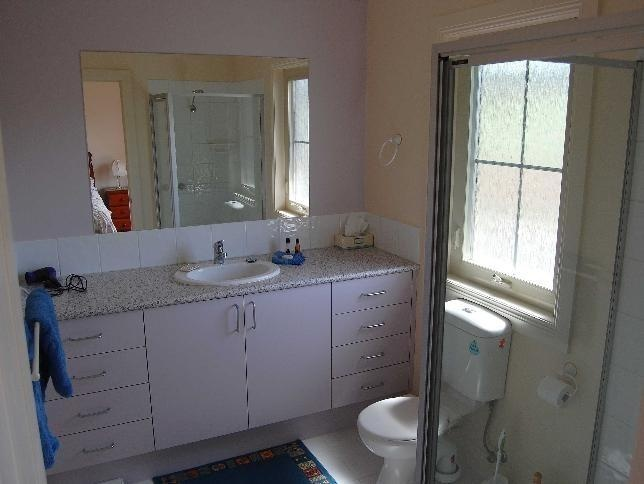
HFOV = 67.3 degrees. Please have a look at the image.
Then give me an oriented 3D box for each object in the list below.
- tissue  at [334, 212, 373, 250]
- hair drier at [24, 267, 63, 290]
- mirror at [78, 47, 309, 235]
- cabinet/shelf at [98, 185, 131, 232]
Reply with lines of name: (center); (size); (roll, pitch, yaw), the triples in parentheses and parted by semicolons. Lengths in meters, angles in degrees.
tissue : (0.248, -0.063, 3.555); (0.275, 0.295, 0.244); (-3, 9, -17)
hair drier: (-1.585, 0.209, 2.745); (0.153, 0.063, 0.159); (-11, 53, -25)
mirror: (-0.873, -0.679, 3.098); (1.108, 1.201, 0.058); (-6, 17, -23)
cabinet/shelf: (-1.279, -0.211, 2.955); (0.190, 0.331, 0.168); (-9, 21, -34)
